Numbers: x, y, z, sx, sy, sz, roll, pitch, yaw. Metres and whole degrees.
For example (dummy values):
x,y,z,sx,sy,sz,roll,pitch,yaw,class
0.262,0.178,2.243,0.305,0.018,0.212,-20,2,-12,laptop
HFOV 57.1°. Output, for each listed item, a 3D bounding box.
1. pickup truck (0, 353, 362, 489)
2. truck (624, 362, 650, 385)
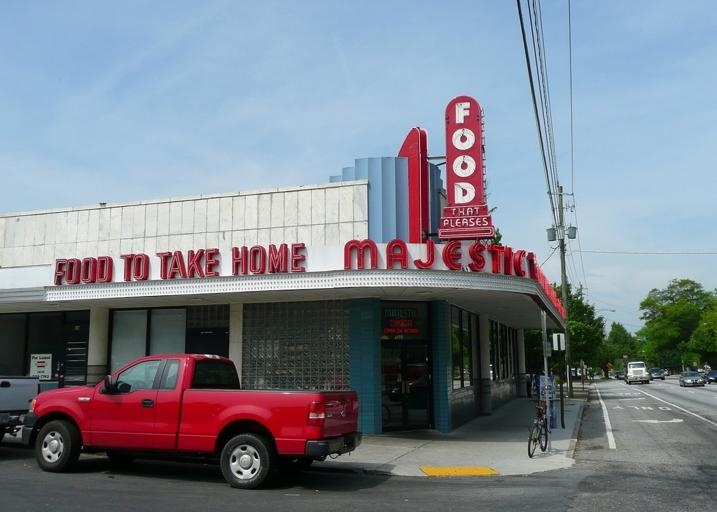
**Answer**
x,y,z,sx,sy,sz,roll,pitch,yaw,class
-3.801,3.635,14.638,6.967,2.925,1.022,-6,-11,11,pickup truck
27.878,11.784,66.270,1.974,2.163,3.872,-5,-26,12,truck
